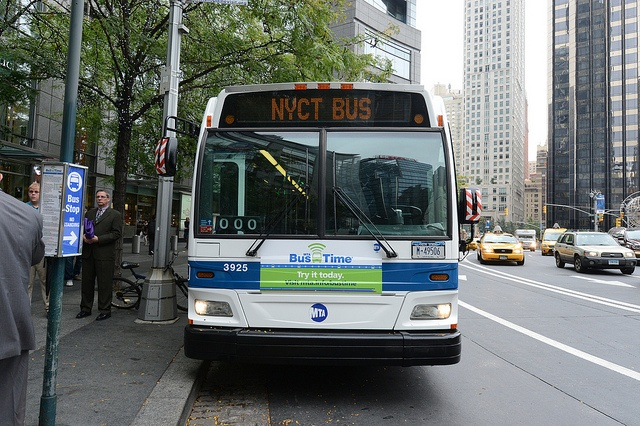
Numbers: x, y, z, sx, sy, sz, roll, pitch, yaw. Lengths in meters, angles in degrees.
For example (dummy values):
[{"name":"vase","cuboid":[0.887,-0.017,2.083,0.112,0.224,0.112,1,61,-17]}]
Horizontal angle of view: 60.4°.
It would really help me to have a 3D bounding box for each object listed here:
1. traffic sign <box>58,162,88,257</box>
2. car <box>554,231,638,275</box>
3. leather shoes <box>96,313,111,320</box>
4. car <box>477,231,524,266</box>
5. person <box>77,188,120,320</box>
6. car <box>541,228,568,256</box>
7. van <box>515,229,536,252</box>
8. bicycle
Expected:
[{"name":"traffic sign","cuboid":[-3.314,-0.044,7.390,0.122,1.209,0.451,6,10,24]},{"name":"car","cuboid":[11.120,1.559,22.595,1.438,1.061,3.151,1,-8,4]},{"name":"leather shoes","cuboid":[-4.364,2.076,11.089,0.272,0.140,0.241,-2,10,-25]},{"name":"car","cuboid":[8.755,1.864,26.455,1.894,1.340,2.279,4,9,12]},{"name":"person","cuboid":[-4.512,0.794,11.148,0.832,2.552,0.837,2,-3,1]},{"name":"car","cuboid":[15.433,1.810,35.970,1.733,1.582,3.063,-2,-9,14]},{"name":"van","cuboid":[18.121,2.353,48.123,1.401,1.330,2.490,-1,-10,15]},{"name":"bicycle","cuboid":[-3.963,1.565,12.683,1.916,1.183,1.243,0,-3,-4]}]
